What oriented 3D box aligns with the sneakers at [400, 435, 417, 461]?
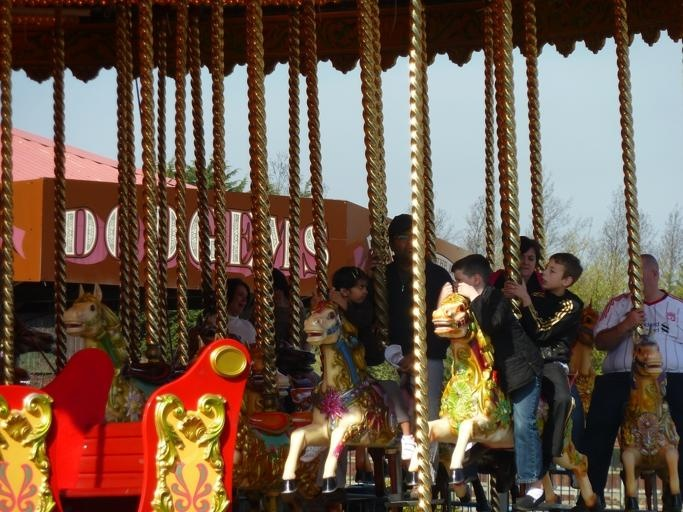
[{"bbox_3d":[0.625,1.752,15.632,0.181,0.306,0.206,-2,-6,7],"label":"sneakers"}]
